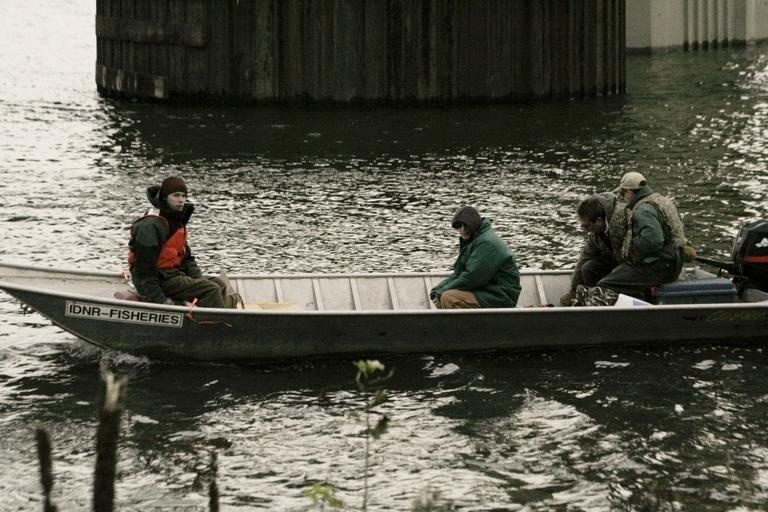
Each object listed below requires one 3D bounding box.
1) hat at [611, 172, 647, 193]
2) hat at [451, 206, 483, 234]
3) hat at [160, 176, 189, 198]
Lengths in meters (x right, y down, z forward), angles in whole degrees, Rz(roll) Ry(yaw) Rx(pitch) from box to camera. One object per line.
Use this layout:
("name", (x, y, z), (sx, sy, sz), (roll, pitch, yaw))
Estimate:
("hat", (3.603, -1.082, 18.175), (0.584, 0.252, 0.340), (2, 13, 21))
("hat", (1.186, -0.527, 17.936), (0.386, 0.318, 0.449), (6, 28, 11))
("hat", (-2.861, -0.975, 17.360), (0.368, 0.215, 0.327), (-2, 3, -31))
